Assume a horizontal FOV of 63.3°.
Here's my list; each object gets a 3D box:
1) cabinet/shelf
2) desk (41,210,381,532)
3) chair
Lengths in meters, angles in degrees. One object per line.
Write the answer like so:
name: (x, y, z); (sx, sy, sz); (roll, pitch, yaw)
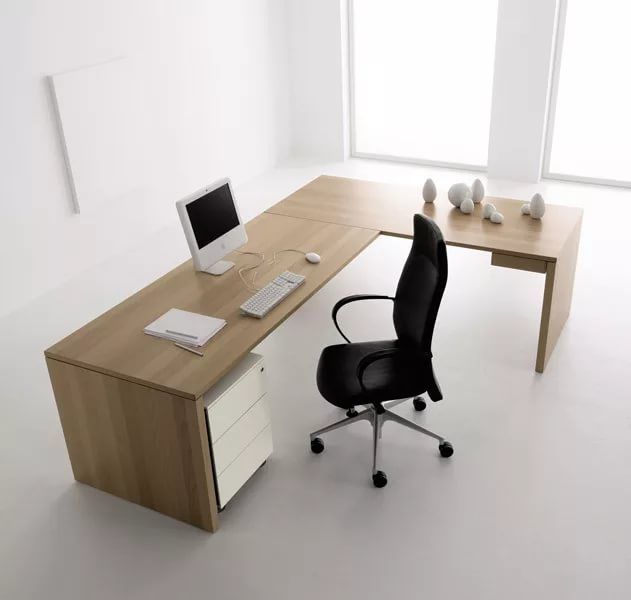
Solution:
cabinet/shelf: (-0.443, 0.592, 2.381); (0.263, 0.639, 0.405); (12, 28, 29)
desk: (-0.543, 0.296, 2.732); (0.906, 0.825, 1.516); (14, 35, 26)
chair: (0.326, 0.207, 2.533); (0.567, 1.233, 0.643); (-1, 23, -9)
